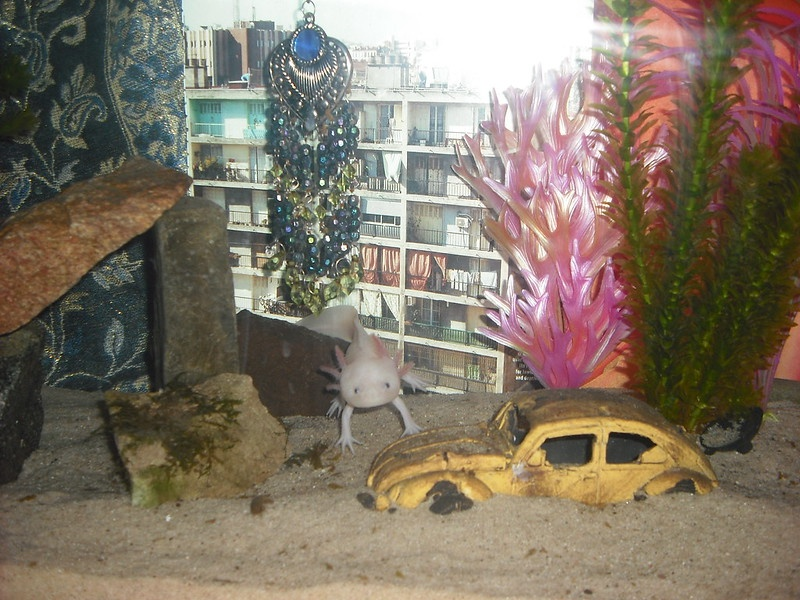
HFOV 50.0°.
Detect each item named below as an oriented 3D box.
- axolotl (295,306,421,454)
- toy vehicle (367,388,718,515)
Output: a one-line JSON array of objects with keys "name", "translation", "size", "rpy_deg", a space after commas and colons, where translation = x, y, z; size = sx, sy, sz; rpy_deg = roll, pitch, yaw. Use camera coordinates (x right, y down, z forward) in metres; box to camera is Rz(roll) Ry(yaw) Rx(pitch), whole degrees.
[{"name": "axolotl", "translation": [-0.169, 0.281, 4.169], "size": [0.358, 0.331, 0.854], "rpy_deg": [-1, 30, -6]}, {"name": "toy vehicle", "translation": [0.669, 0.690, 3.721], "size": [1.491, 0.598, 0.563], "rpy_deg": [0, 5, -1]}]
